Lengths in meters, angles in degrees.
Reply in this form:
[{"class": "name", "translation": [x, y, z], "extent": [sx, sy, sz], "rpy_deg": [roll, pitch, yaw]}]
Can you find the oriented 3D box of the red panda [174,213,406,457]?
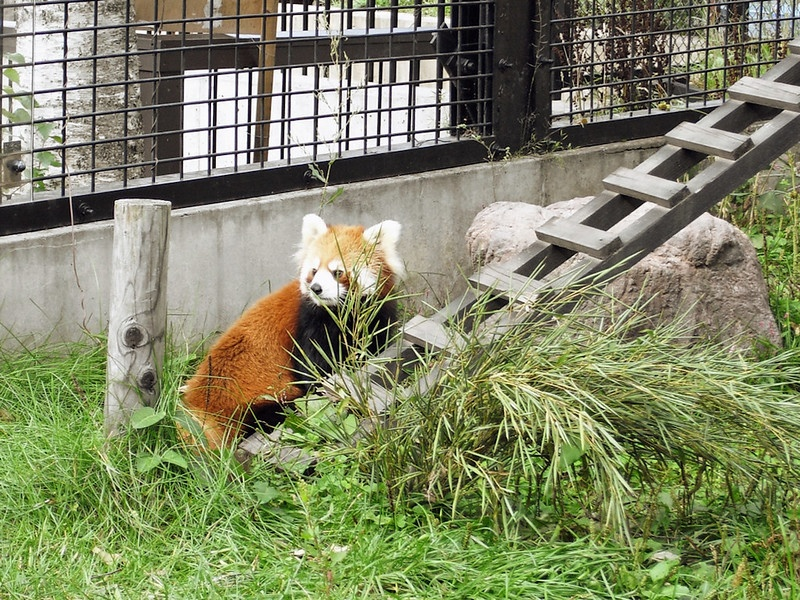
[{"class": "red panda", "translation": [-0.528, 0.124, 4.988], "extent": [1.251, 1.103, 0.739], "rpy_deg": [-4, 5, -18]}]
